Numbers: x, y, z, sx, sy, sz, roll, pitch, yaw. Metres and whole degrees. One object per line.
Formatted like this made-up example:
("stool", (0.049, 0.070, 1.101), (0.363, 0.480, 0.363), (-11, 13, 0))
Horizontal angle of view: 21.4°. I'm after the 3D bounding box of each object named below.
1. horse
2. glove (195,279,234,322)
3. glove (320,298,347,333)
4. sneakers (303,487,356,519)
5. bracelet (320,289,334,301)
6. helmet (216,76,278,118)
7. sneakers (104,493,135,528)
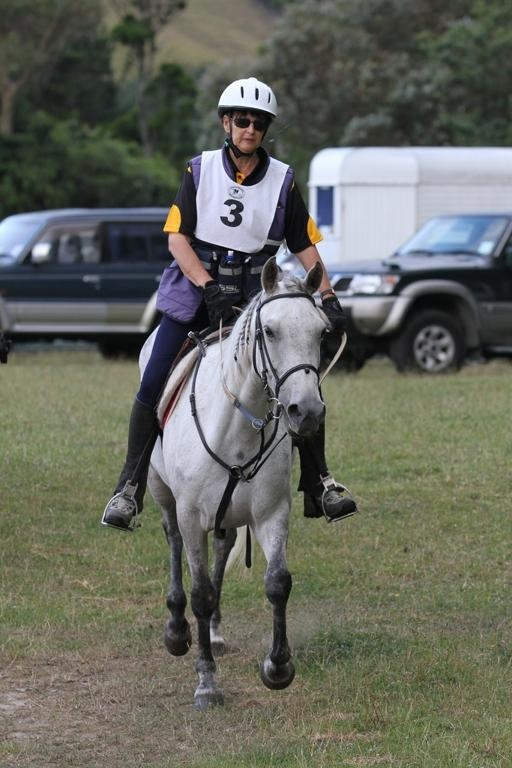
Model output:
("horse", (-0.023, 0.434, 5.958), (0.549, 2.016, 1.490), (-7, 11, -25))
("glove", (-0.177, -0.376, 6.220), (0.083, 0.187, 0.152), (-25, 22, -12))
("glove", (0.346, -0.318, 5.892), (0.052, 0.116, 0.154), (-23, 52, 2))
("sneakers", (0.374, 0.580, 6.680), (0.118, 0.172, 0.333), (-1, -10, -28))
("bracelet", (0.325, -0.419, 6.123), (0.051, 0.032, 0.047), (-26, -12, -47))
("helmet", (-0.043, -1.371, 6.390), (0.266, 0.195, 0.293), (-3, 10, -2))
("sneakers", (-0.677, 0.636, 6.823), (0.096, 0.100, 0.240), (19, -9, -2))
